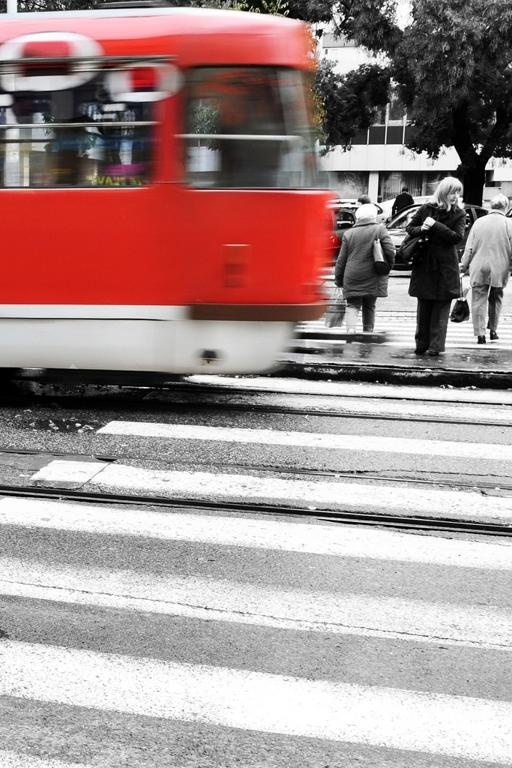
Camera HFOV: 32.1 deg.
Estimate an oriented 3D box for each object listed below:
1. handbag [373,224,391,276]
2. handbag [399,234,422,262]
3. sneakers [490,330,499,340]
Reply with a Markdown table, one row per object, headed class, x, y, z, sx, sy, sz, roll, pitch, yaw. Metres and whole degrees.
| class | x | y | z | sx | sy | sz | roll | pitch | yaw |
| --- | --- | --- | --- | --- | --- | --- | --- | --- | --- |
| handbag | 1.515 | -1.589 | 10.758 | 0.233 | 0.601 | 0.600 | -4 | 3 | 9 |
| handbag | 1.628 | -1.391 | 9.319 | 0.209 | 0.272 | 0.436 | 3 | 10 | 8 |
| sneakers | 3.090 | -0.612 | 11.422 | 0.062 | 0.128 | 0.186 | 3 | 8 | 30 |
